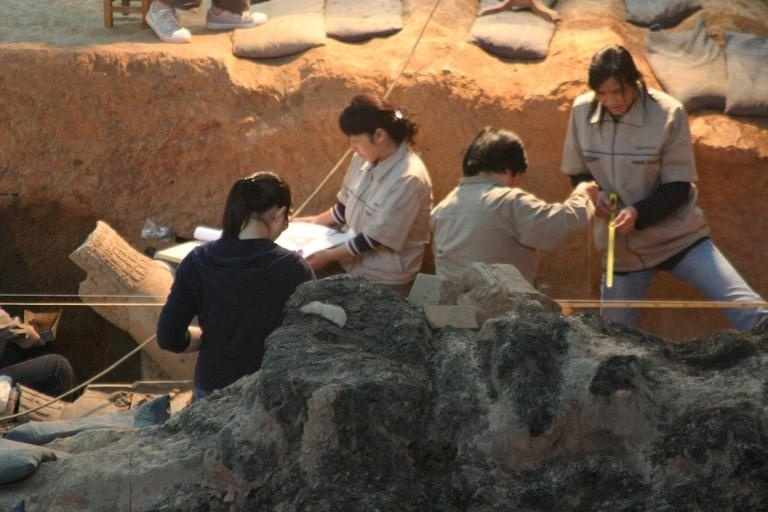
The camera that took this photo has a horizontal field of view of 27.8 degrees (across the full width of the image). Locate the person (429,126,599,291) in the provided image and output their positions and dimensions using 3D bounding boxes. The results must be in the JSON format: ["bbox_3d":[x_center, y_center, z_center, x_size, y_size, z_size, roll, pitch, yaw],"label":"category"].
[{"bbox_3d":[1.002,-0.329,11.357,0.861,1.144,0.707,21,43,37],"label":"person"}]

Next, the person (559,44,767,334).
[{"bbox_3d":[1.927,-0.545,11.122,0.658,1.810,1.392,-17,35,-29],"label":"person"}]

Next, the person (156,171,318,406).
[{"bbox_3d":[-0.957,0.222,10.555,0.987,1.384,0.638,-24,39,-38],"label":"person"}]

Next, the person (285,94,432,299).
[{"bbox_3d":[-0.186,-0.503,11.645,1.110,1.376,1.079,-5,20,-21],"label":"person"}]

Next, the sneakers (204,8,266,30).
[{"bbox_3d":[-1.244,-2.009,13.030,0.538,0.207,0.188,-3,18,-5],"label":"sneakers"}]
